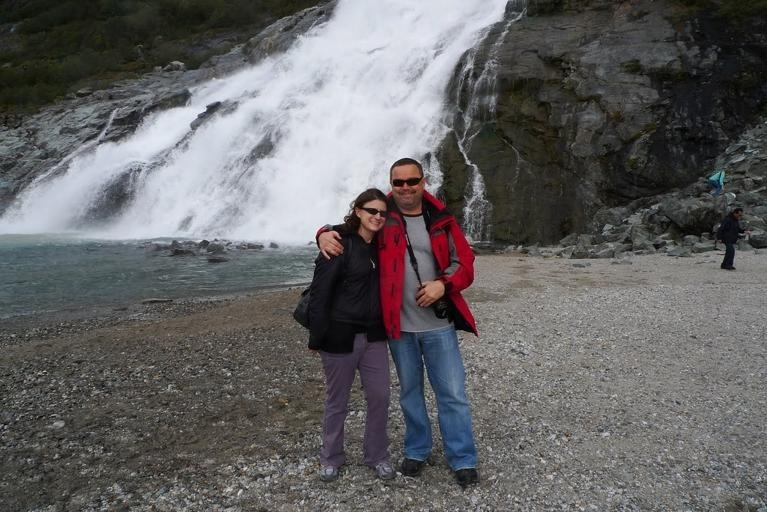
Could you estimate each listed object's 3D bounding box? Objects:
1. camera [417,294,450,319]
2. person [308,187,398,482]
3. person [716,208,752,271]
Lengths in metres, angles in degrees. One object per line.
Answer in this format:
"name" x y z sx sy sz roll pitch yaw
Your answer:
"camera" 0.624 0.645 5.505 0.291 0.282 0.188 1 -15 -41
"person" -0.389 0.985 5.546 0.981 3.510 0.623 -3 12 0
"person" 10.353 -0.728 13.451 0.611 1.539 4.017 6 14 39
